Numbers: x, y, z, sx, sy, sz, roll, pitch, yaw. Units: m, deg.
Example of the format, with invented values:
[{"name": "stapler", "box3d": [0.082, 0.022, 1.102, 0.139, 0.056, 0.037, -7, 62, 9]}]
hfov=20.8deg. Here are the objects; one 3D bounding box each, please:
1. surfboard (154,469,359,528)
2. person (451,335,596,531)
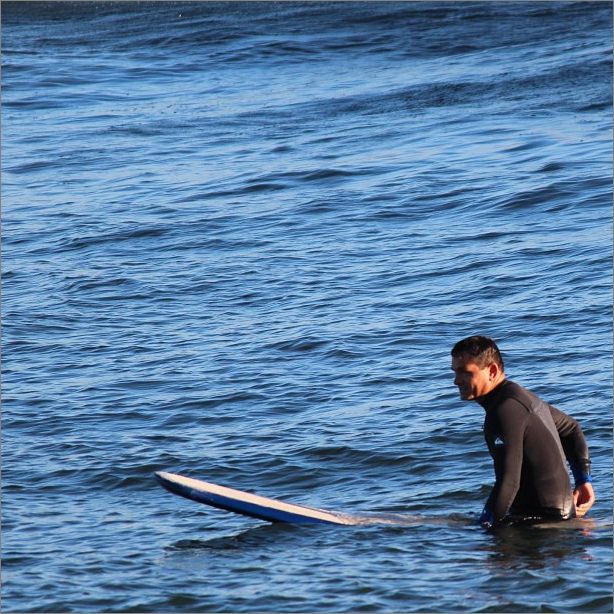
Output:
[{"name": "surfboard", "box3d": [-0.495, 1.906, 16.462, 1.758, 0.131, 0.205, 12, -33, -3]}, {"name": "person", "box3d": [1.989, 1.110, 15.098, 1.077, 1.748, 0.514, -7, 8, -27]}]
